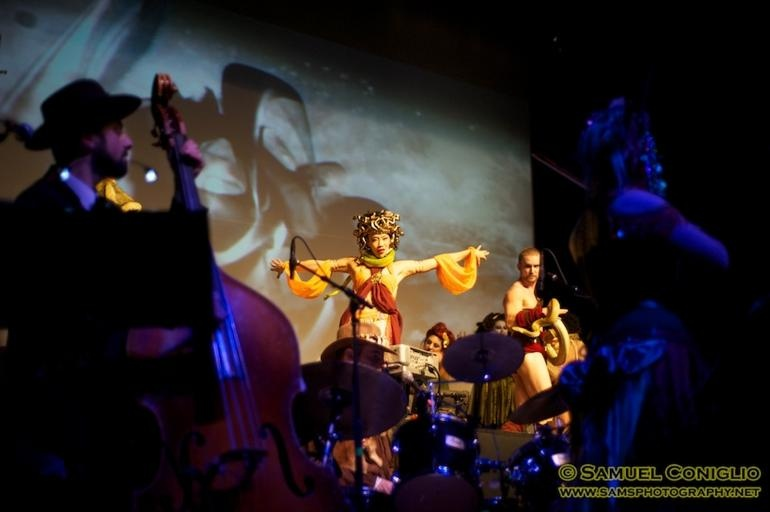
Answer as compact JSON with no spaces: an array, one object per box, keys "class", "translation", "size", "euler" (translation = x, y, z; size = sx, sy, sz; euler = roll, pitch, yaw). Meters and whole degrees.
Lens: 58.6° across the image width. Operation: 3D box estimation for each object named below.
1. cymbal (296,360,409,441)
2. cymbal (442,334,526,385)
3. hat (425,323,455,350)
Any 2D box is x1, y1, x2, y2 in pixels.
[{"class":"cymbal","translation":[-0.238,0.999,4.811],"size":[0.683,0.161,0.699],"euler":[-5,-48,-5]},{"class":"cymbal","translation":[0.801,0.828,5.616],"size":[0.503,0.230,0.512],"euler":[10,-54,-8]},{"class":"hat","translation":[0.637,0.924,8.124],"size":[0.306,0.367,0.160],"euler":[28,-41,-19]}]
